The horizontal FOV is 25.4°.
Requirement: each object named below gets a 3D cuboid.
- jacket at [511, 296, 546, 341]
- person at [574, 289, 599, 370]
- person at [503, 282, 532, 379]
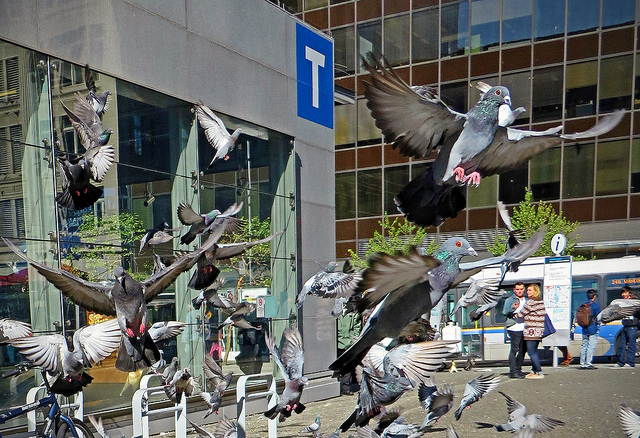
[{"bbox_3d":[6.039,2.835,41.448,1.091,1.318,1.030,3,1,-40],"label":"jacket"},{"bbox_3d":[8.144,3.366,43.146,0.692,2.386,0.903,-5,-5,10],"label":"person"},{"bbox_3d":[5.753,3.265,41.422,0.676,2.693,0.831,1,1,6],"label":"person"}]
